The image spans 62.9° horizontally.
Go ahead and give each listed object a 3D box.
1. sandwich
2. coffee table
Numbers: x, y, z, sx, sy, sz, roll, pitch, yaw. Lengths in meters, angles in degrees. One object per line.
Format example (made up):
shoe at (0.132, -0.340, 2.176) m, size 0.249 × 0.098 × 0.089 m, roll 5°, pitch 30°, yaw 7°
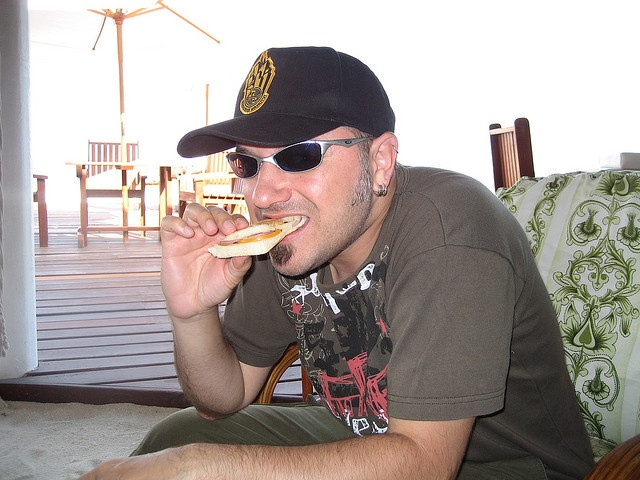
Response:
sandwich at (-0.238, -0.024, 2.023) m, size 0.354 × 0.167 × 0.328 m, roll -2°, pitch 7°, yaw -6°
coffee table at (-3.116, -0.698, 8.648) m, size 2.005 × 1.569 × 1.964 m, roll -1°, pitch 1°, yaw -14°
